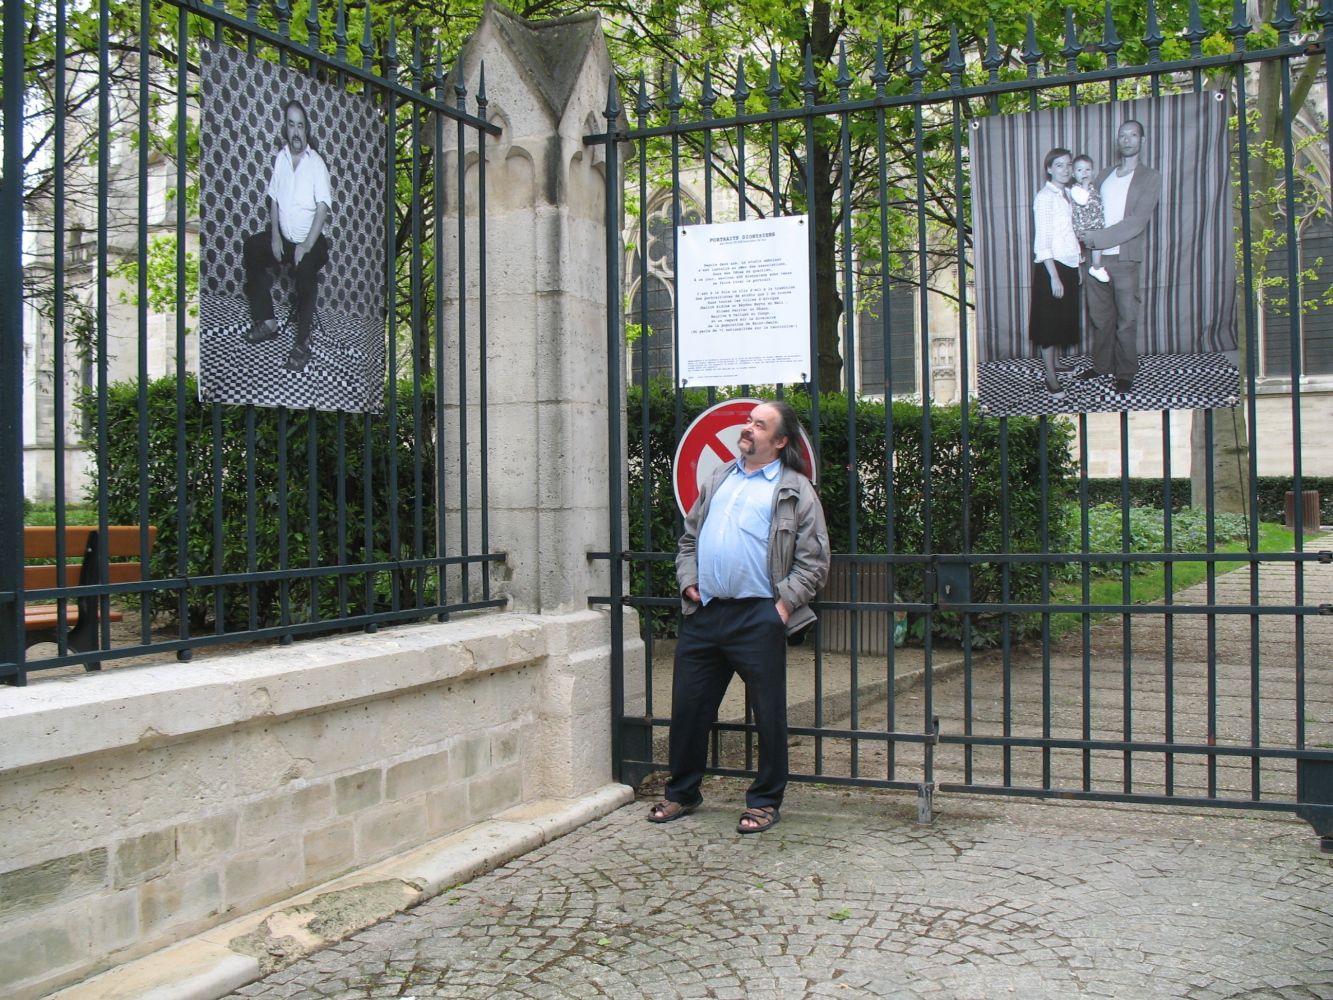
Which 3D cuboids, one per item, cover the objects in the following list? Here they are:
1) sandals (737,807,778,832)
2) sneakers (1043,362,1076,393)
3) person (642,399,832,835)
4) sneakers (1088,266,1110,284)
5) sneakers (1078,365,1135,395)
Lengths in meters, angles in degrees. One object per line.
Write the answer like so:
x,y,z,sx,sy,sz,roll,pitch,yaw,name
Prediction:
0.469,1.733,7.995,0.086,0.099,0.248,-7,-15,32,sandals
2.100,-0.675,7.951,0.080,0.115,0.261,-8,24,9,sneakers
0.405,0.626,8.116,0.902,2.308,0.587,1,6,4,person
2.298,-1.213,7.889,0.106,0.065,0.048,32,14,33,sneakers
2.345,-0.653,7.907,0.326,0.159,0.109,20,18,29,sneakers
